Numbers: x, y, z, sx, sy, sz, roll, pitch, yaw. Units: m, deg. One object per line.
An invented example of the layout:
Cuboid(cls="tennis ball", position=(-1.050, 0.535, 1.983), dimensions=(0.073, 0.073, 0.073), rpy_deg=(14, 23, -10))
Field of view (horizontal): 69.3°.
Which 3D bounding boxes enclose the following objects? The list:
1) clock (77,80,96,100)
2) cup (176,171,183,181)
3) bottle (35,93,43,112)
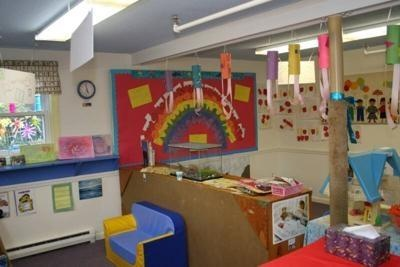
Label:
Cuboid(cls="clock", position=(-2.116, -0.812, 5.487), dimensions=(0.331, 0.318, 0.353), rpy_deg=(2, -14, 43))
Cuboid(cls="cup", position=(-0.315, 0.664, 4.518), dimensions=(0.122, 0.164, 0.120), rpy_deg=(2, 4, 0))
Cuboid(cls="bottle", position=(-2.913, -0.560, 5.246), dimensions=(0.143, 0.292, 0.061), rpy_deg=(-9, 11, -26))
